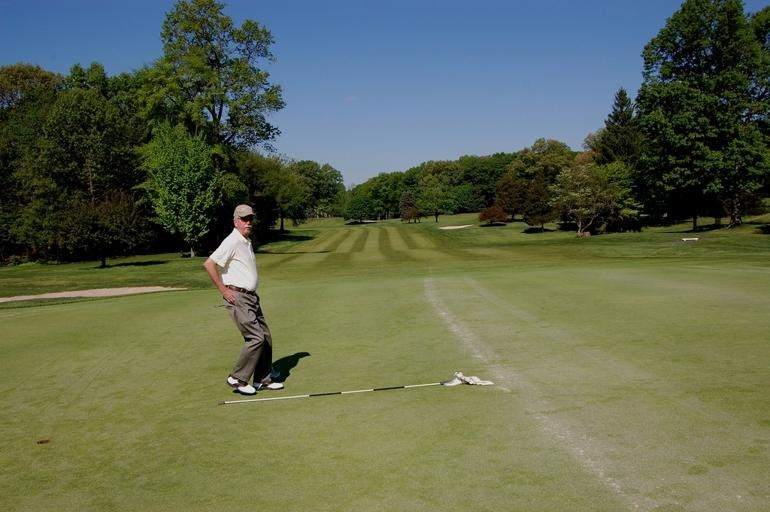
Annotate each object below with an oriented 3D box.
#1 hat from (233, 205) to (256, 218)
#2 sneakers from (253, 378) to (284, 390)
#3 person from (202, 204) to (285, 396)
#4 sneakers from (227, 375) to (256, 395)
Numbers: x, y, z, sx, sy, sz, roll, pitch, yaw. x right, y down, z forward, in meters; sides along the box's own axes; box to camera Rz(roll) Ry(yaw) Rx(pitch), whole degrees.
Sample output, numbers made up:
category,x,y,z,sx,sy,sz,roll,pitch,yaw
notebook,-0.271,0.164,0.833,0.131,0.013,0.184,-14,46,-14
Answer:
category,x,y,z,sx,sy,sz,roll,pitch,yaw
hat,-2.550,-0.829,9.341,0.283,0.156,0.356,-2,0,-35
sneakers,-2.027,2.244,9.256,0.582,0.192,0.217,-4,2,3
person,-2.518,0.733,9.100,0.957,3.252,1.048,-8,13,-16
sneakers,-2.510,2.255,9.025,0.507,0.180,0.253,19,5,6
